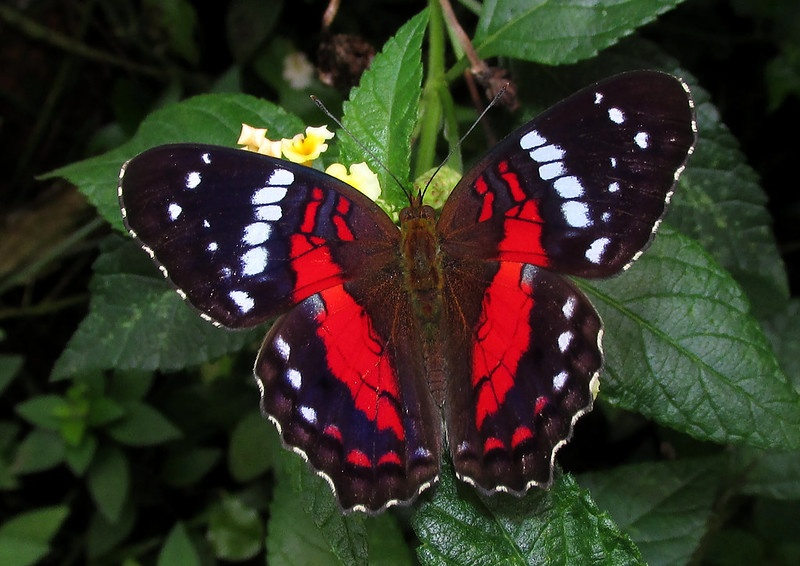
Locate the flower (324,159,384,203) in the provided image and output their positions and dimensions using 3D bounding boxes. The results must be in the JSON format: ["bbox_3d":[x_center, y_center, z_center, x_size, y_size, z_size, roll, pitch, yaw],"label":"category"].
[{"bbox_3d":[-0.114,-0.292,2.083,0.129,0.145,0.034,-2,55,27],"label":"flower"}]

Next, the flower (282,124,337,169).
[{"bbox_3d":[-0.255,-0.359,2.116,0.101,0.103,0.045,24,91,28],"label":"flower"}]
